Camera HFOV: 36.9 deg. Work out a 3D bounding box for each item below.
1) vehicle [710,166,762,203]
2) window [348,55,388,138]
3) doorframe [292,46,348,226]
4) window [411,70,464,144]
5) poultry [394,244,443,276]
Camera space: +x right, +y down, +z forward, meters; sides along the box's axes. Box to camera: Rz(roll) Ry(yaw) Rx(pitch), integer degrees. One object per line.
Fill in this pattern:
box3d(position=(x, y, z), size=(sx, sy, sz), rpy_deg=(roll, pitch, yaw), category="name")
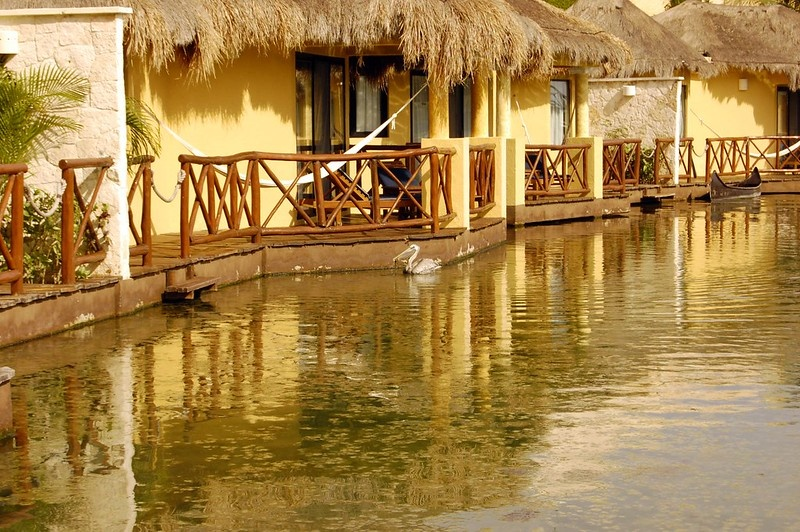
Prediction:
box3d(position=(7.421, -1.788, 26.637), size=(0.604, 0.834, 2.135), rpy_deg=(4, 4, 38), category="vehicle")
box3d(position=(-0.560, -2.807, 19.631), size=(0.076, 1.646, 1.408), rpy_deg=(2, 5, 24), category="window")
box3d(position=(-1.204, -1.870, 17.289), size=(0.162, 2.856, 2.538), rpy_deg=(5, 7, 20), category="doorframe")
box3d(position=(0.540, -2.684, 20.746), size=(0.841, 1.016, 0.095), rpy_deg=(0, 19, 17), category="window")
box3d(position=(0.229, -0.076, 14.348), size=(0.572, 0.298, 0.743), rpy_deg=(-2, 10, -8), category="poultry")
